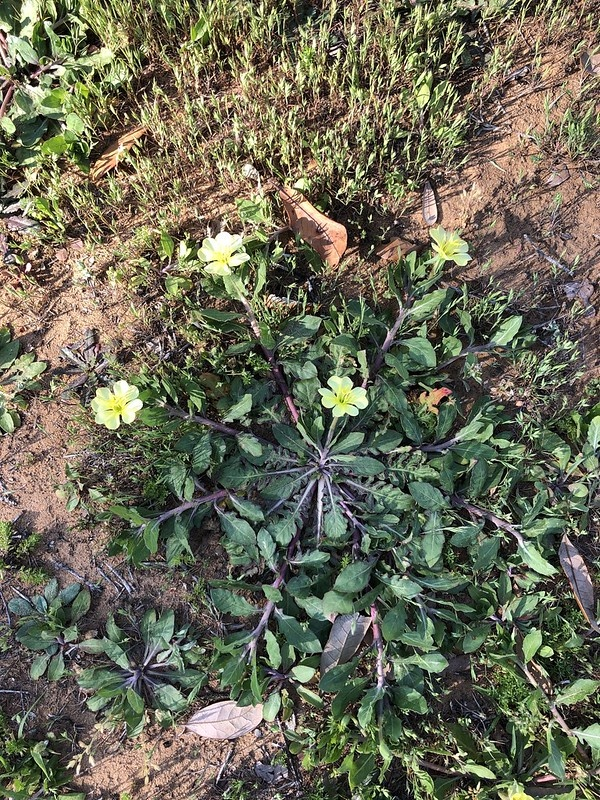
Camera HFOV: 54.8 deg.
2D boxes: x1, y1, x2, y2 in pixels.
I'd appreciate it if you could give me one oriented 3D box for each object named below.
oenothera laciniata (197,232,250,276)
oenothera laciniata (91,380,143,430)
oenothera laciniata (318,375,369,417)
[{"bbox_3d":[-0.310,-0.583,2.354,0.226,0.109,0.210,-5,81,-1],"label":"oenothera laciniata"},{"bbox_3d":[-0.709,0.016,2.255,0.200,0.079,0.198,19,75,-4],"label":"oenothera laciniata"},{"bbox_3d":[0.153,-0.009,2.115,0.160,0.112,0.143,38,82,7],"label":"oenothera laciniata"}]
